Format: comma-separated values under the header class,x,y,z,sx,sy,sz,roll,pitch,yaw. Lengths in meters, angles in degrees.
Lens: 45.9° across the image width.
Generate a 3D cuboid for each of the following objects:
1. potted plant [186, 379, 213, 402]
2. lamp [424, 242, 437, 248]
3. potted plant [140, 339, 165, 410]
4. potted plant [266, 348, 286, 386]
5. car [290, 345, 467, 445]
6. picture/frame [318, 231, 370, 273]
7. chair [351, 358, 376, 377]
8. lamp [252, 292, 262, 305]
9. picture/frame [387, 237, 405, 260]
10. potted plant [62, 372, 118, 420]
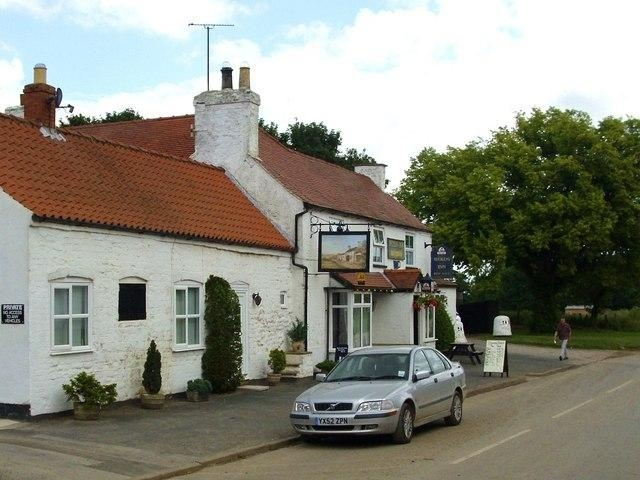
class,x,y,z,sx,sy,sz,roll,pitch,yaw
potted plant,-3.452,4.319,21.848,0.576,0.558,0.649,-3,-4,23
lamp,5.769,0.284,39.366,0.305,0.205,1.238,15,7,29
potted plant,-4.458,3.628,20.575,0.669,1.758,1.009,10,7,-12
potted plant,-1.489,4.329,25.818,0.619,1.147,0.898,11,7,-2
car,1.499,3.545,17.563,2.254,1.420,4.046,18,9,43
picture/frame,0.878,0.423,26.382,1.416,1.075,0.095,-1,-10,11
chair,1.068,2.982,17.832,0.416,0.380,0.734,0,-8,15
lamp,-2.091,1.999,25.506,0.209,0.439,0.537,13,7,18
picture/frame,3.510,0.430,35.119,0.528,0.670,2.151,14,7,19
potted plant,-5.681,3.889,18.839,1.247,1.131,1.104,4,-9,-17
